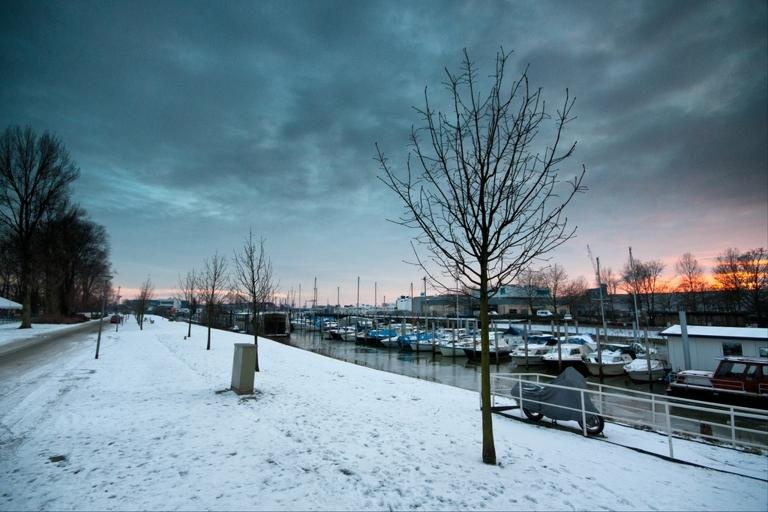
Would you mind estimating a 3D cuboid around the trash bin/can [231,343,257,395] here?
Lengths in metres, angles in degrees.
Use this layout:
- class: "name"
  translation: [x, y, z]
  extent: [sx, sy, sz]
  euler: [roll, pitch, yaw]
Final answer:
- class: "trash bin/can"
  translation: [-5.824, 4.711, 19.256]
  extent: [0.753, 1.857, 1.484]
  euler: [6, -6, -27]

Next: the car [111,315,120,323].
- class: "car"
  translation: [-36.041, 8.558, 61.765]
  extent: [1.277, 0.861, 2.719]
  euler: [3, -10, -17]
